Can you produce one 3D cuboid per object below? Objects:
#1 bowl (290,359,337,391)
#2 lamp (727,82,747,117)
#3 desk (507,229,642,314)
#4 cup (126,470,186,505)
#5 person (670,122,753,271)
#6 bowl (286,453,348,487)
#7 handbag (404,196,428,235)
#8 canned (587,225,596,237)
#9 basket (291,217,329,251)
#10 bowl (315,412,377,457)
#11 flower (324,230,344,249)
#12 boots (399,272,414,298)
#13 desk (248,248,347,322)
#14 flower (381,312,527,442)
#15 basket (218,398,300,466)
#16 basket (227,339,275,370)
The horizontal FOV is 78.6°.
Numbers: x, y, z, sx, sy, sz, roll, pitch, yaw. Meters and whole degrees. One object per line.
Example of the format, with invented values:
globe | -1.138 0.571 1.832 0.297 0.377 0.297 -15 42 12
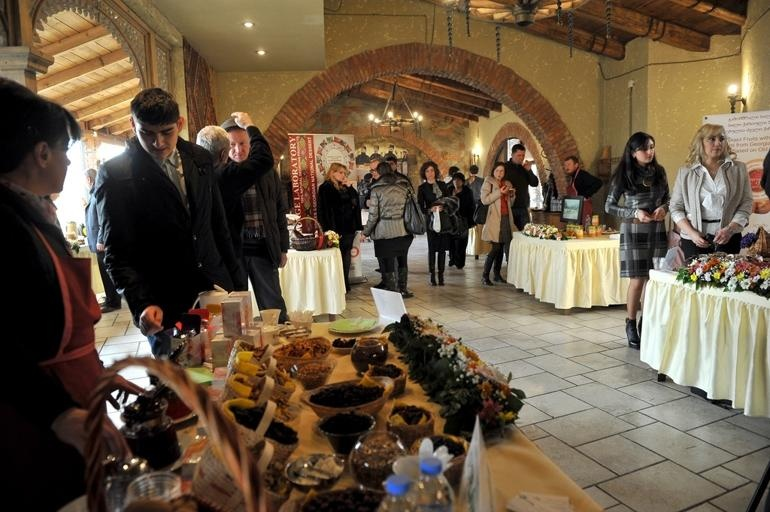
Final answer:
bowl | -0.286 0.465 1.903 0.100 0.054 0.135 -7 8 -18
lamp | 5.522 -2.513 7.473 0.273 0.495 0.676 5 12 34
desk | 2.482 0.167 5.988 0.949 0.578 1.144 -2 7 -12
cup | -0.553 0.556 1.130 0.083 0.063 0.077 0 10 0
person | 2.772 -0.545 4.005 0.593 1.119 0.301 0 10 10
bowl | -0.212 0.655 1.442 0.094 0.022 0.093 1 13 0
handbag | 0.415 -0.567 6.658 0.266 0.590 0.555 -11 11 -14
canned | 2.571 -0.325 5.974 0.119 0.138 0.122 -1 -4 16
basket | -0.919 -0.273 5.624 0.398 0.531 0.601 0 -4 -2
bowl | -0.135 0.579 1.565 0.152 0.075 0.163 -1 4 0
flower | -0.609 -0.205 5.620 0.198 0.203 0.186 -4 10 -20
boots | 0.297 0.384 6.806 0.211 0.380 0.453 -1 10 2
desk | -0.892 0.298 5.262 1.190 0.874 0.736 -2 5 -6
flower | 0.238 0.389 1.906 0.254 0.197 0.754 -8 15 -14
basket | -0.363 0.491 1.458 0.161 0.219 0.225 17 2 38
basket | -0.512 0.376 1.796 0.118 0.075 0.155 0 0 -14
